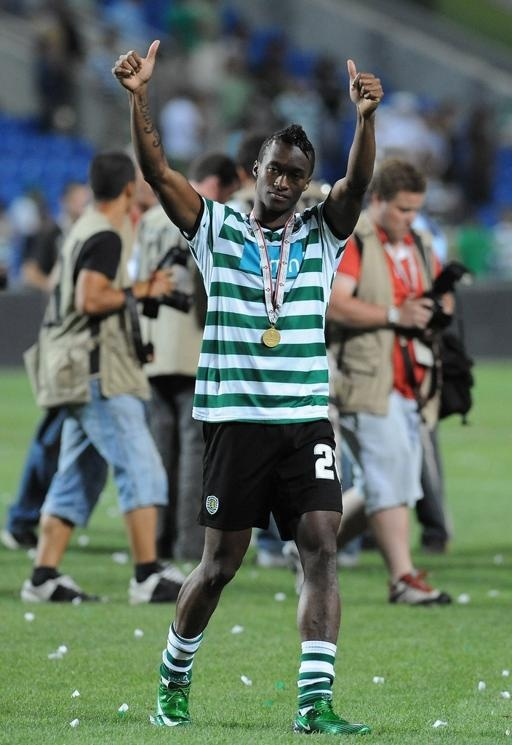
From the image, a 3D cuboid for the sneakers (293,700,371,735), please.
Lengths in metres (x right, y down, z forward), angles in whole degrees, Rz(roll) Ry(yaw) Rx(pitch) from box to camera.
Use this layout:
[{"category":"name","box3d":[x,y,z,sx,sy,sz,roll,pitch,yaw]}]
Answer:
[{"category":"sneakers","box3d":[0.167,0.854,2.637,0.213,0.091,0.075,-5,-11,24]}]

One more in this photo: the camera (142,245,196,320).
[{"category":"camera","box3d":[-0.440,-0.468,5.256,0.132,0.342,0.364,20,16,20]}]

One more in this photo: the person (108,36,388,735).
[{"category":"person","box3d":[-0.023,0.041,2.820,0.691,1.828,0.395,1,-3,6]}]

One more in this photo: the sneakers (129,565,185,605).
[{"category":"sneakers","box3d":[-0.527,0.999,5.031,0.377,0.168,0.125,-3,14,-1]}]

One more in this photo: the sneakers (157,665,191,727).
[{"category":"sneakers","box3d":[-0.231,0.888,2.888,0.063,0.130,0.186,5,-7,-8]}]

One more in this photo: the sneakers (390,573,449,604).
[{"category":"sneakers","box3d":[0.727,0.990,4.861,0.118,0.145,0.321,8,-11,-43]}]

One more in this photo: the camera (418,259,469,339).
[{"category":"camera","box3d":[0.802,-0.342,4.536,0.255,0.256,0.093,45,3,-37]}]

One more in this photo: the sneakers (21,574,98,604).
[{"category":"sneakers","box3d":[-0.913,0.991,4.890,0.356,0.143,0.118,1,0,-8]}]
